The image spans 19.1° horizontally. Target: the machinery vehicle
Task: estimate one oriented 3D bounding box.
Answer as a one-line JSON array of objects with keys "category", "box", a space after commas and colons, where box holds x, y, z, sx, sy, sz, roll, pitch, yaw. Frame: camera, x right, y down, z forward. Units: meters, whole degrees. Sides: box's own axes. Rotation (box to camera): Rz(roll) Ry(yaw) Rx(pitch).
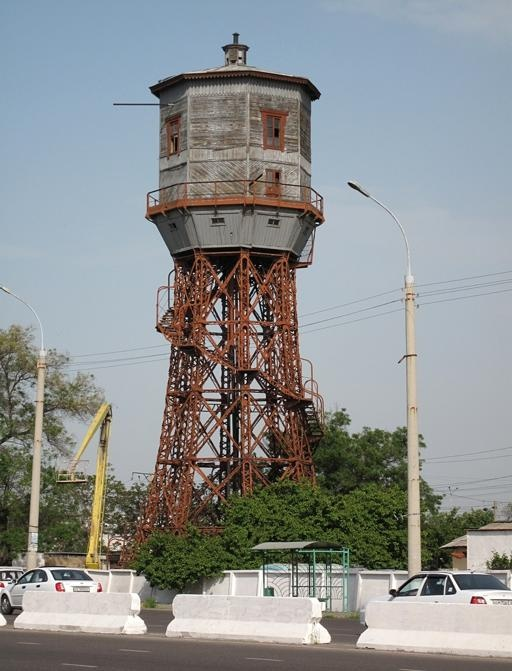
[{"category": "machinery vehicle", "box": [-7.276, 6.538, 66.103, 1.803, 7.443, 11.220, 1, -15, -5]}]
